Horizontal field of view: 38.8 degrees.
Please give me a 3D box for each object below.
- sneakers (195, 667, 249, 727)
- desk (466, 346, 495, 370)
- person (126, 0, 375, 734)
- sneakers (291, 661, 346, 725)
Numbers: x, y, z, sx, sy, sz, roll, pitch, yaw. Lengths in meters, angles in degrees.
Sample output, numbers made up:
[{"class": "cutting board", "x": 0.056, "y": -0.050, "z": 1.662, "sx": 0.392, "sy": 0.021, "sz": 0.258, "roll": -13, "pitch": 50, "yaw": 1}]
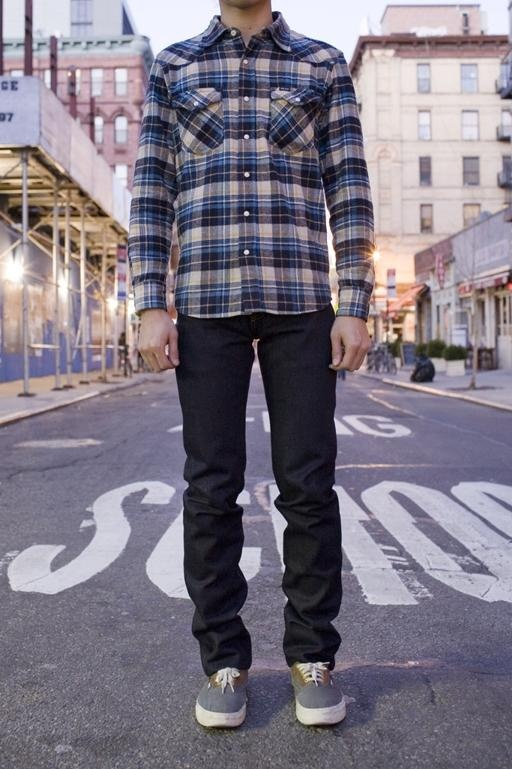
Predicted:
[{"class": "sneakers", "x": -0.086, "y": 0.838, "z": 1.959, "sx": 0.151, "sy": 0.120, "sz": 0.128, "roll": -4, "pitch": 5, "yaw": -14}, {"class": "desk", "x": 8.717, "y": -0.981, "z": 28.269, "sx": 1.095, "sy": 1.271, "sz": 1.329, "roll": 1, "pitch": 0, "yaw": 9}, {"class": "person", "x": 0.022, "y": -0.116, "z": 2.074, "sx": 0.717, "sy": 2.013, "sz": 0.526, "roll": -3, "pitch": 4, "yaw": -11}, {"class": "sneakers", "x": 0.168, "y": 0.834, "z": 1.972, "sx": 0.138, "sy": 0.125, "sz": 0.154, "roll": -2, "pitch": 4, "yaw": 1}]
